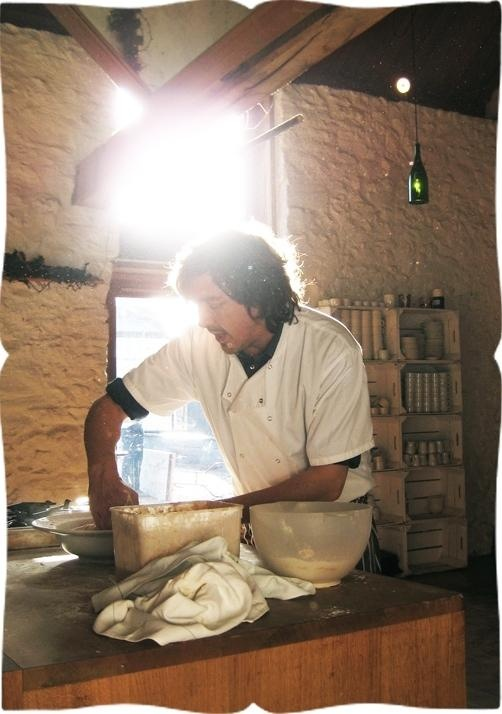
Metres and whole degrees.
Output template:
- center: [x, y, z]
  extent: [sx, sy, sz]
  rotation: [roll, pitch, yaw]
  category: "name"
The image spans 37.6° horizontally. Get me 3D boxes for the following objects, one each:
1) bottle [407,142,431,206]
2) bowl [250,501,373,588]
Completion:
- center: [0.896, -1.001, 3.959]
  extent: [0.089, 0.370, 0.437]
  rotation: [-2, -8, 13]
  category: "bottle"
- center: [0.100, 0.288, 1.207]
  extent: [0.169, 0.091, 0.157]
  rotation: [-2, -7, 0]
  category: "bowl"
